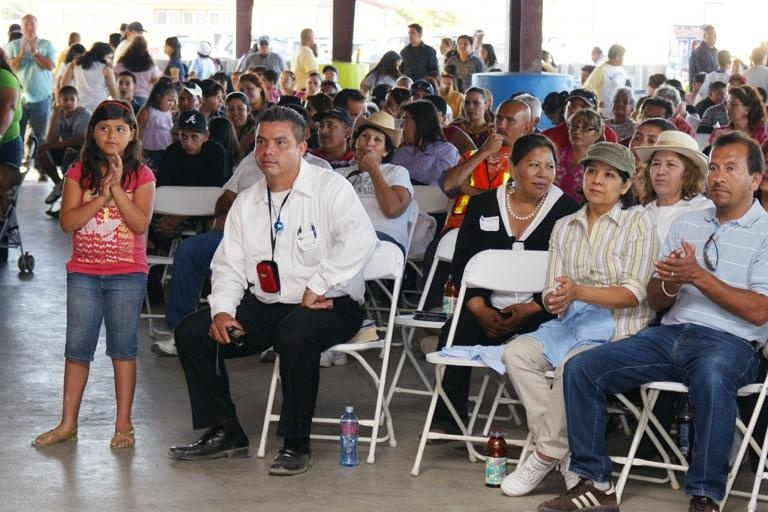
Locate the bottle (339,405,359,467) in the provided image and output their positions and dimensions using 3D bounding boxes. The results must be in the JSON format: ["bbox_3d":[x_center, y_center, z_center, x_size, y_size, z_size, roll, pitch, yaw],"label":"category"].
[{"bbox_3d":[-0.197,1.025,4.592,0.117,0.361,0.188,2,9,-2],"label":"bottle"}]

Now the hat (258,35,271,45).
[{"bbox_3d":[-2.474,-4.488,16.354,0.239,0.196,0.368,0,4,0],"label":"hat"}]

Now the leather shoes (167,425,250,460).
[{"bbox_3d":[-1.025,1.121,4.735,0.515,0.214,0.171,2,-3,-12],"label":"leather shoes"}]

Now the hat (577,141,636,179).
[{"bbox_3d":[1.281,-0.550,4.487,0.292,0.186,0.152,4,9,10],"label":"hat"}]

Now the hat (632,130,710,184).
[{"bbox_3d":[1.816,-0.642,4.969,0.426,0.289,0.347,4,9,11],"label":"hat"}]

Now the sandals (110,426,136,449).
[{"bbox_3d":[-1.571,1.092,4.741,0.143,0.107,0.126,-1,9,-19],"label":"sandals"}]

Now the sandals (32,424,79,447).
[{"bbox_3d":[-1.992,1.094,4.814,0.268,0.154,0.086,4,7,-32],"label":"sandals"}]
